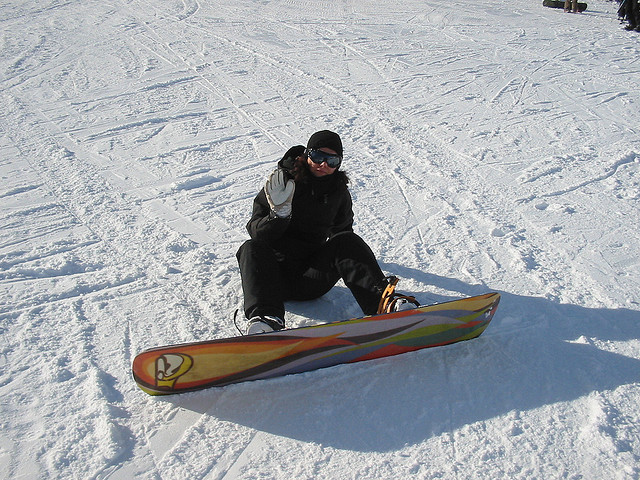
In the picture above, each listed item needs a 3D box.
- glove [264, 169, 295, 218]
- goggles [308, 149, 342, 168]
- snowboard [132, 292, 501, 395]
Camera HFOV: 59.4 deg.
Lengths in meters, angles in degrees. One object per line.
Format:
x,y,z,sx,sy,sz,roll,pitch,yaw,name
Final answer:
-0.318,-0.353,4.305,0.320,0.301,0.108,-4,8,26,glove
0.024,-0.647,4.457,0.273,0.152,0.113,10,57,2,goggles
0.000,0.800,4.167,3.308,0.218,0.385,-7,16,-1,snowboard
